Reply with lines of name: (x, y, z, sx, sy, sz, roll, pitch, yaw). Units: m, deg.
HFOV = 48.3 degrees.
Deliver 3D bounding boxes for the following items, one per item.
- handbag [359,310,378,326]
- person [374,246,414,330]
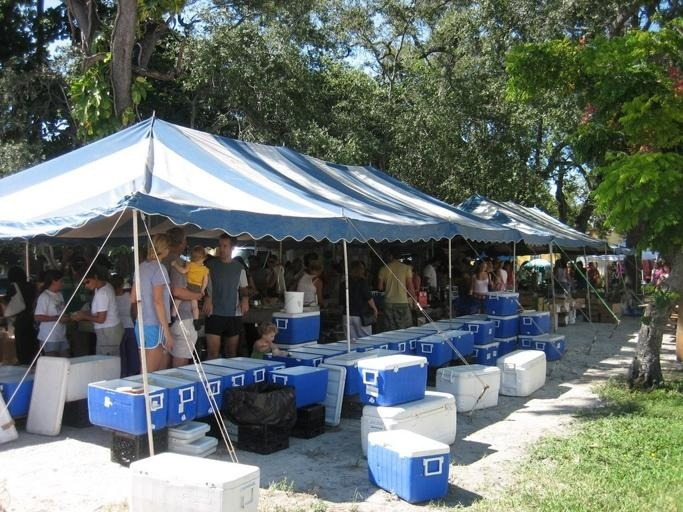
handbag: (0.508, 1.086, 13.452, 0.211, 0.366, 0.396, -4, 1, 41)
person: (0.996, 0.797, 13.972, 0.596, 1.938, 0.579, 0, 15, 8)
